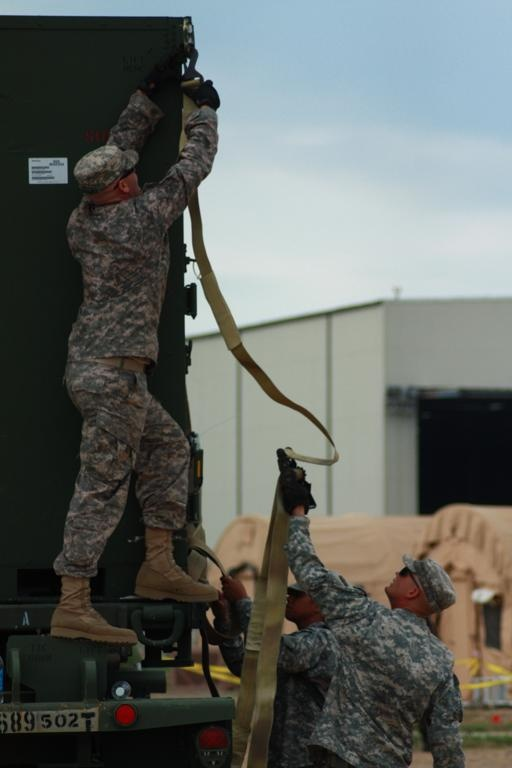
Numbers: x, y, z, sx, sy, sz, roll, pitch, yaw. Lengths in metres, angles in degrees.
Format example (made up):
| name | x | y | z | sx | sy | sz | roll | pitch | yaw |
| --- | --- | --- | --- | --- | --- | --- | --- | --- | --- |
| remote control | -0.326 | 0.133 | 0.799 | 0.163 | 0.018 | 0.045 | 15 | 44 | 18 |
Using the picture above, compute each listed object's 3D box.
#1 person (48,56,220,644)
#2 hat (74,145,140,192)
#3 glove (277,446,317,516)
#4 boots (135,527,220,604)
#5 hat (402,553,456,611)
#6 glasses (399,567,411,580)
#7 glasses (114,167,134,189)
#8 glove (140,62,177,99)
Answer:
| name | x | y | z | sx | sy | sz | roll | pitch | yaw |
| --- | --- | --- | --- | --- | --- | --- | --- | --- | --- |
| person | -0.527 | -0.180 | 6.720 | 0.670 | 2.642 | 0.455 | 2 | -4 | -6 |
| hat | -0.652 | -0.931 | 6.635 | 0.144 | 0.237 | 0.297 | -2 | -5 | 38 |
| glove | 0.165 | 0.424 | 7.054 | 0.188 | 0.367 | 0.133 | 3 | 35 | 21 |
| boots | -0.317 | 0.842 | 6.887 | 0.482 | 0.439 | 0.205 | 1 | -4 | -4 |
| hat | 0.781 | 0.901 | 6.911 | 0.135 | 0.293 | 0.185 | -36 | -22 | 20 |
| glasses | 0.671 | 0.874 | 6.975 | 0.038 | 0.045 | 0.038 | -1 | 16 | -13 |
| glasses | -0.582 | -0.892 | 6.652 | 0.039 | 0.068 | 0.048 | 22 | -9 | -33 |
| glove | -0.442 | -1.363 | 6.883 | 0.162 | 0.159 | 0.063 | 11 | 4 | -9 |
